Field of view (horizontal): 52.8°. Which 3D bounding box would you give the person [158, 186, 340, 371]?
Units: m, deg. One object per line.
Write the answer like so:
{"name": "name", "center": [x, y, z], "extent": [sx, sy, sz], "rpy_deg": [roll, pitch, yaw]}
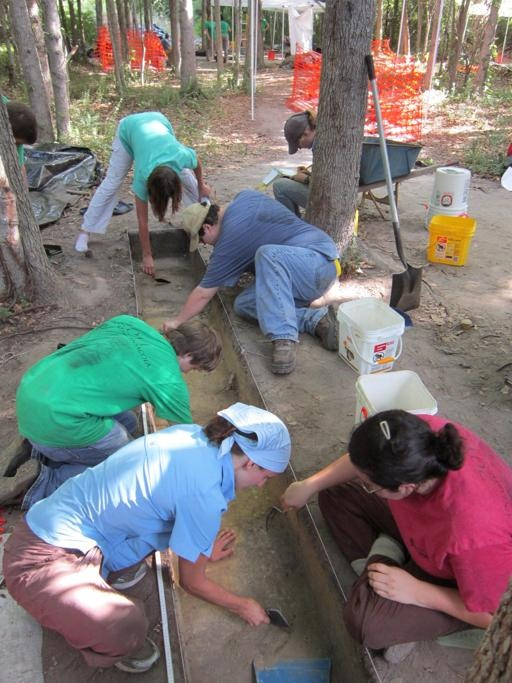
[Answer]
{"name": "person", "center": [-0.053, -0.503, 3.625], "extent": [1.127, 1.017, 1.457], "rpy_deg": [-16, 24, -36]}

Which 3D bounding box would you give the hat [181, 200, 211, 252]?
{"name": "hat", "center": [-0.371, -0.722, 3.326], "extent": [0.175, 0.329, 0.237], "rpy_deg": [-2, 31, -4]}

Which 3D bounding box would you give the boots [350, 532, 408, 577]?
{"name": "boots", "center": [0.457, 0.765, 1.865], "extent": [0.133, 0.068, 0.163], "rpy_deg": [-13, 15, -2]}

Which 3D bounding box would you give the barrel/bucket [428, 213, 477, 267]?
{"name": "barrel/bucket", "center": [1.717, -0.900, 4.574], "extent": [0.368, 0.415, 0.272], "rpy_deg": [11, 32, 18]}

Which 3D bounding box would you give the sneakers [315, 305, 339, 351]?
{"name": "sneakers", "center": [0.468, -0.078, 3.366], "extent": [0.121, 0.139, 0.310], "rpy_deg": [-11, 33, 2]}

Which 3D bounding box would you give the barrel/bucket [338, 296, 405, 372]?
{"name": "barrel/bucket", "center": [0.678, -0.023, 3.145], "extent": [0.446, 0.317, 0.442], "rpy_deg": [0, 38, 0]}

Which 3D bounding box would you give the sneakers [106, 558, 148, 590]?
{"name": "sneakers", "center": [-0.513, 0.923, 2.044], "extent": [0.152, 0.100, 0.138], "rpy_deg": [-6, 40, -4]}

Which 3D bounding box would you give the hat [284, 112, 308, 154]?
{"name": "hat", "center": [0.354, -1.840, 4.570], "extent": [0.186, 0.354, 0.241], "rpy_deg": [1, 31, 0]}

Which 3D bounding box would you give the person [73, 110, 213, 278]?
{"name": "person", "center": [-0.949, -1.239, 4.258], "extent": [1.149, 0.791, 1.494], "rpy_deg": [-9, 45, -12]}

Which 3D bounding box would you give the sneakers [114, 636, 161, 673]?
{"name": "sneakers", "center": [-0.416, 1.110, 1.826], "extent": [0.136, 0.044, 0.106], "rpy_deg": [2, 12, -2]}

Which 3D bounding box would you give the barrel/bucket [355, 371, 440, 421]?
{"name": "barrel/bucket", "center": [0.612, 0.244, 2.276], "extent": [0.166, 0.192, 0.169], "rpy_deg": [0, 32, 0]}
